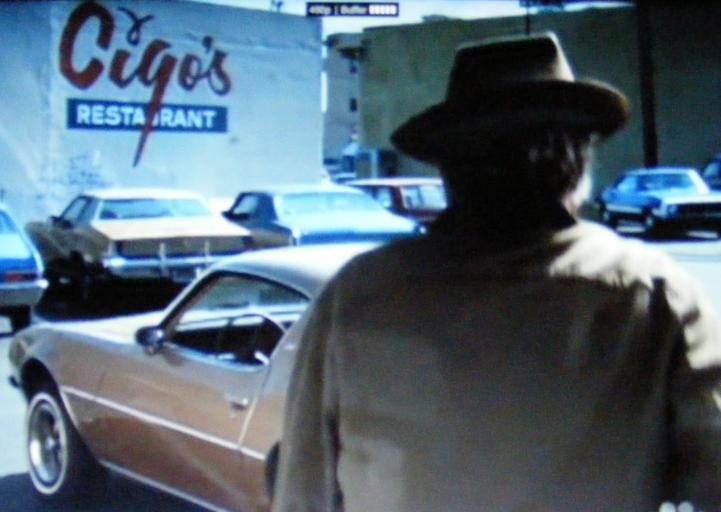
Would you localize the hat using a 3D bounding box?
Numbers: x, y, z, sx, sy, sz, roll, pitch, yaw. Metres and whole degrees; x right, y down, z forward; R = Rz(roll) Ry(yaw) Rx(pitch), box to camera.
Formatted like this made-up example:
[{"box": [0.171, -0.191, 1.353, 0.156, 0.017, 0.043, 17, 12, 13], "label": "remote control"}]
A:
[{"box": [0.386, -0.377, 1.793, 0.387, 0.163, 0.371, -8, -12, 3], "label": "hat"}]
